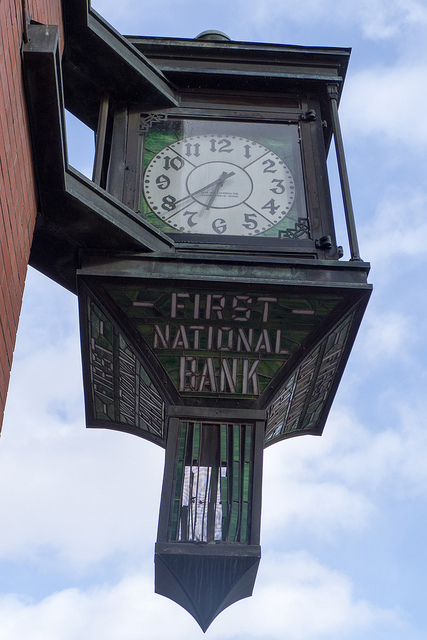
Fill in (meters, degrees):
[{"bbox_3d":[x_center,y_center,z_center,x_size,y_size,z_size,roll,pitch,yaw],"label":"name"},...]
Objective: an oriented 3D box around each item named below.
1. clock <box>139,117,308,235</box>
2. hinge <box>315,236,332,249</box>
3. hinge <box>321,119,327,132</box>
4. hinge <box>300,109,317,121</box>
[{"bbox_3d":[0.086,-1.391,12.790,1.590,1.625,0.124,3,-43,-3],"label":"clock"},{"bbox_3d":[1.080,-0.712,12.128,0.133,0.126,0.126,5,-5,-23],"label":"hinge"},{"bbox_3d":[1.220,-2.074,13.560,0.083,0.120,0.045,-4,0,-4],"label":"hinge"},{"bbox_3d":[1.036,-2.169,13.440,0.140,0.062,0.109,-3,-17,2],"label":"hinge"}]
